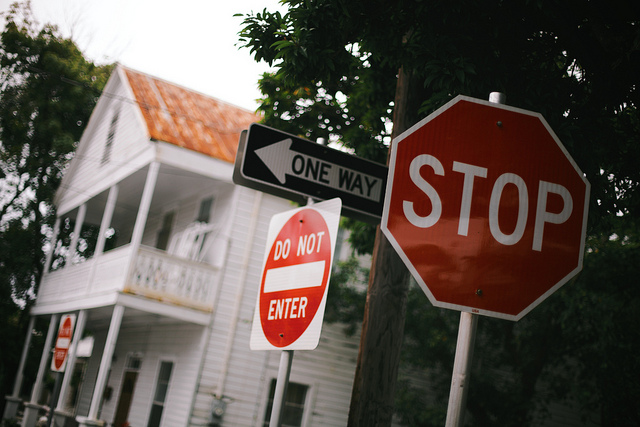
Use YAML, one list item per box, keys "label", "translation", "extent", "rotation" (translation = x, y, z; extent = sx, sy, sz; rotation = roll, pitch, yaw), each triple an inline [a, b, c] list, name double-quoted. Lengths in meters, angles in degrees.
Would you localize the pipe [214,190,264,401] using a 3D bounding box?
- label: "pipe"
  translation: [-2.149, 2.344, 17.623]
  extent: [0.352, 5.820, 0.265]
  rotation: [10, -6, 45]
